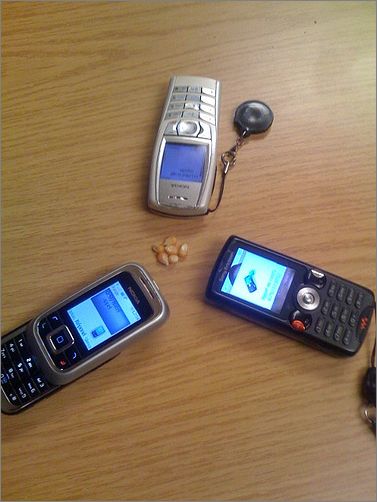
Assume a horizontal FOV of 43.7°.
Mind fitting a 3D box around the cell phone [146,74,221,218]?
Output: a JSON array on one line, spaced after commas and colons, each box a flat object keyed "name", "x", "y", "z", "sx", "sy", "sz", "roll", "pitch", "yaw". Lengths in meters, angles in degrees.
[{"name": "cell phone", "x": -0.005, "y": -0.142, "z": 0.631, "sx": 0.085, "sy": 0.144, "sz": 0.147, "roll": 5, "pitch": 38, "yaw": 0}]

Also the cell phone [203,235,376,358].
[{"name": "cell phone", "x": 0.114, "y": 0.063, "z": 0.623, "sx": 0.235, "sy": 0.068, "sz": 0.105, "roll": 20, "pitch": 82, "yaw": 1}]
